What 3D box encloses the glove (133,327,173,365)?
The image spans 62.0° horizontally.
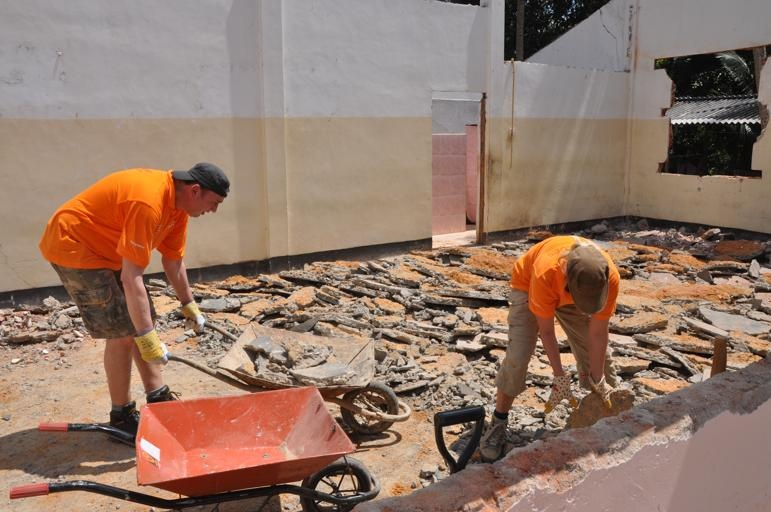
[{"bbox_3d":[-2.089,0.822,5.803,0.258,0.403,0.259,-9,17,-22],"label":"glove"}]

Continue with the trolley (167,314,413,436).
[{"bbox_3d":[-0.789,1.257,6.637,2.493,0.786,1.060,2,25,0],"label":"trolley"}]

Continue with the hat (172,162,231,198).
[{"bbox_3d":[-1.660,-0.734,5.938,0.493,0.239,0.304,16,11,-21],"label":"hat"}]

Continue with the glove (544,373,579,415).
[{"bbox_3d":[1.614,1.257,5.943,0.151,0.335,0.413,9,-29,-29],"label":"glove"}]

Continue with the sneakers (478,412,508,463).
[{"bbox_3d":[1.059,1.712,6.207,0.222,0.279,0.606,14,16,15],"label":"sneakers"}]

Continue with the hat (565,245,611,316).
[{"bbox_3d":[1.745,0.207,5.641,0.381,0.553,0.300,-6,-20,4],"label":"hat"}]
